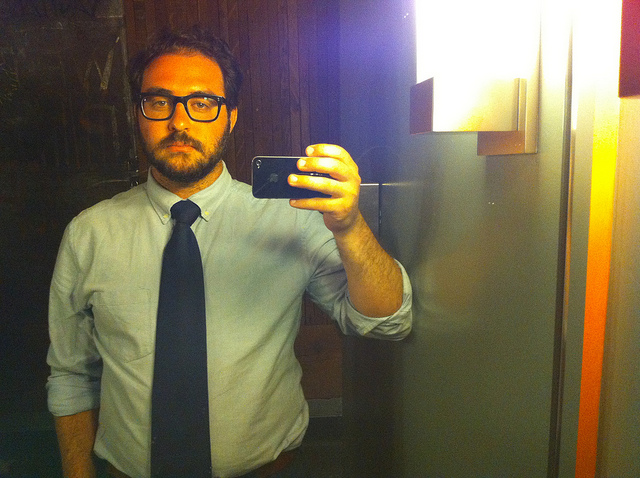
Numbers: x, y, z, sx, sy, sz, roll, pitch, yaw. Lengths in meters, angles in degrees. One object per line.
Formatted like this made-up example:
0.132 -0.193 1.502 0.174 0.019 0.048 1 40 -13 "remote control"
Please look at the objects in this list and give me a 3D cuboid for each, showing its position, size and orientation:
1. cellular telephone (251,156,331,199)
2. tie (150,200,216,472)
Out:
-0.046 -0.099 0.922 0.125 0.069 0.029 -2 11 -1 "cellular telephone"
-0.287 0.218 1.148 0.124 0.478 0.134 -4 11 -9 "tie"
